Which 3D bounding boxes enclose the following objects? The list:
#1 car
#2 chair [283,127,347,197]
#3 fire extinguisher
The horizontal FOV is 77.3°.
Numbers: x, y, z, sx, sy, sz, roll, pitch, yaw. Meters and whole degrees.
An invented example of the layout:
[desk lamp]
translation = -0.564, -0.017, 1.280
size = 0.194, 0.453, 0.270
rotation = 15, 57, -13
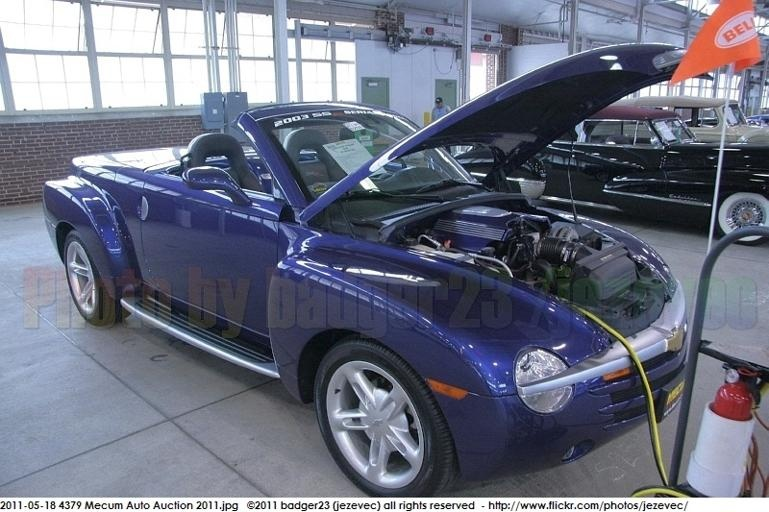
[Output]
[car]
translation = -0.254, -0.278, 3.472
size = 4.257, 1.874, 2.213
rotation = 14, 23, 30
[chair]
translation = -0.471, -0.583, 3.128
size = 0.381, 0.484, 0.455
rotation = -8, 19, -14
[fire extinguisher]
translation = 1.322, 0.692, 1.874
size = 0.197, 0.494, 0.158
rotation = -4, 17, -13
